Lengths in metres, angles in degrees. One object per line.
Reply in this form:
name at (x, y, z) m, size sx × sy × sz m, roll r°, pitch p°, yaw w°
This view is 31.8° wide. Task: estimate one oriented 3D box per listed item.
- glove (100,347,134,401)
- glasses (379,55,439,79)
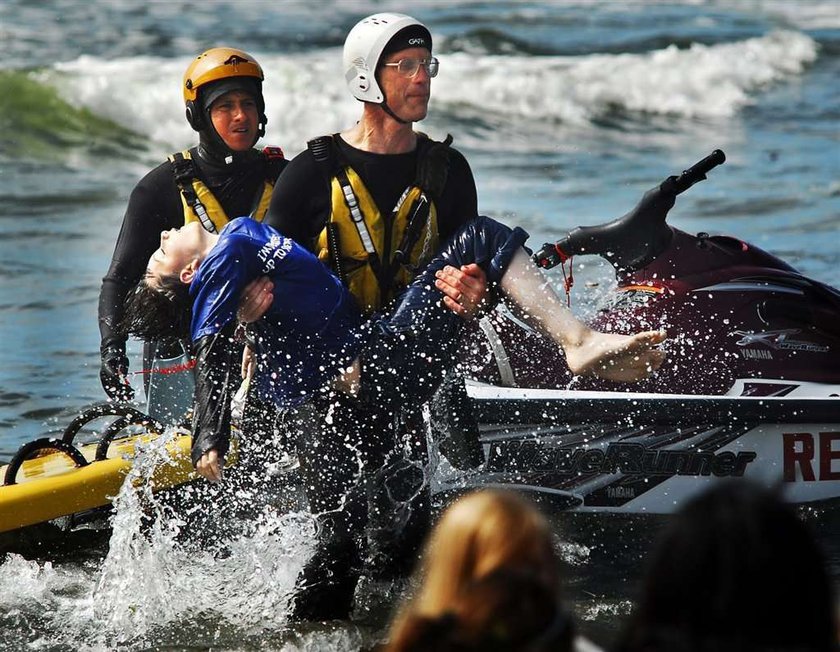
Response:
glove at (-2.521, 0.404, 12.273) m, size 0.250 × 0.519 × 0.370 m, roll -4°, pitch 15°, yaw -10°
glasses at (-0.036, -2.003, 11.286) m, size 0.261 × 0.076 × 0.254 m, roll -3°, pitch -1°, yaw -37°
